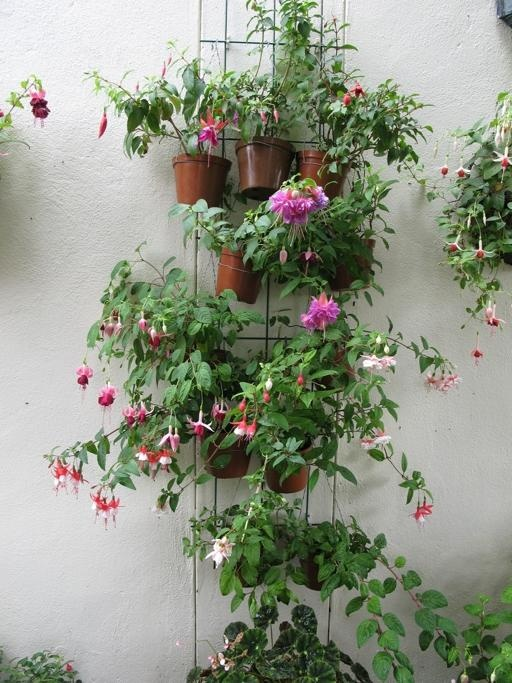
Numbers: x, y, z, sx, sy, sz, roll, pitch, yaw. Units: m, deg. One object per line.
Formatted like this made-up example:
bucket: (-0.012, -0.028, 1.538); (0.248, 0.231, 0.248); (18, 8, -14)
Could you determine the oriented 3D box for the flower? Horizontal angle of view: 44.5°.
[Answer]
flower: (0.103, 0.012, 1.878); (1.339, 2.224, 0.710); (3, -3, -15)
